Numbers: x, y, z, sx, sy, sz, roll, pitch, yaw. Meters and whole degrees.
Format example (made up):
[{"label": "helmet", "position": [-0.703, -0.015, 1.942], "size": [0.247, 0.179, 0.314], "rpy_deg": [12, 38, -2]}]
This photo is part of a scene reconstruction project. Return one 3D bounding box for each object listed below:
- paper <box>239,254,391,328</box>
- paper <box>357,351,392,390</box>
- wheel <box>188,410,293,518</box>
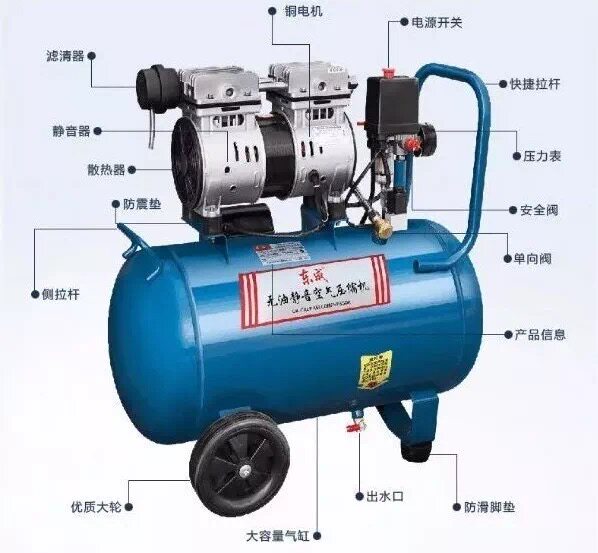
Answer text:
[{"label": "paper", "position": [0.042, 0.083, 3.502], "size": [0.927, 0.392, 0.311], "rpy_deg": [-8, 3, -18]}, {"label": "paper", "position": [0.409, 0.520, 3.513], "size": [0.188, 0.014, 0.239], "rpy_deg": [-13, 46, 26]}, {"label": "wheel", "position": [-0.314, 0.954, 3.268], "size": [0.465, 0.573, 0.184], "rpy_deg": [-13, 23, -19]}]
